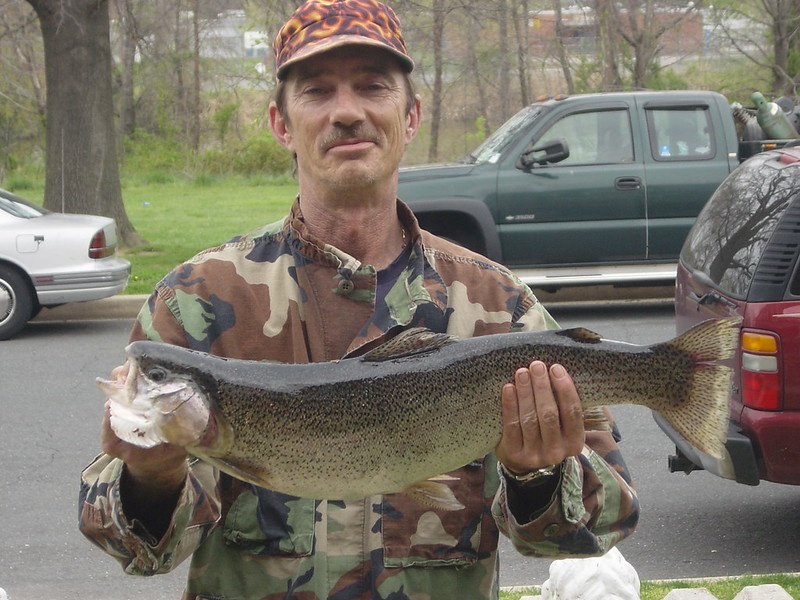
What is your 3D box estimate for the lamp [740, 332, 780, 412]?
[{"bbox_3d":[3.280,0.648,13.269,0.347,0.694,0.237,0,11,14],"label":"lamp"}]
